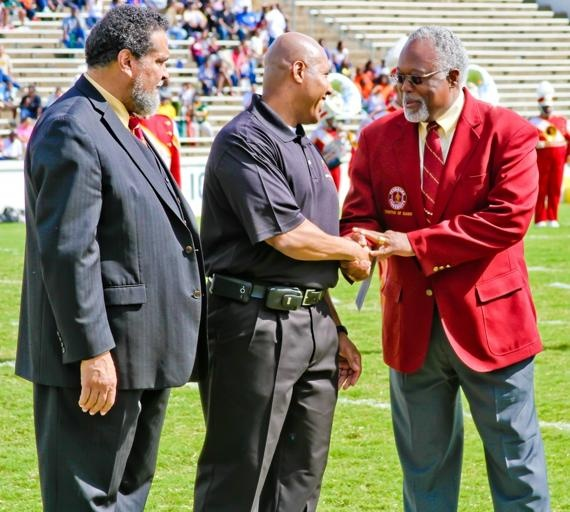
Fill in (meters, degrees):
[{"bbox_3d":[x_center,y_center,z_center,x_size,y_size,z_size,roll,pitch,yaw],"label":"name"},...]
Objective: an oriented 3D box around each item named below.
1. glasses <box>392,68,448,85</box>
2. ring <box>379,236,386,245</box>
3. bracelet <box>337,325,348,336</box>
[{"bbox_3d":[0.608,-0.809,5.690,0.248,0.075,0.088,3,10,9],"label":"glasses"},{"bbox_3d":[0.431,-0.066,5.688,0.027,0.028,0.027,5,-7,1],"label":"ring"},{"bbox_3d":[0.258,0.358,5.915,0.040,0.057,0.023,-8,4,-4],"label":"bracelet"}]
